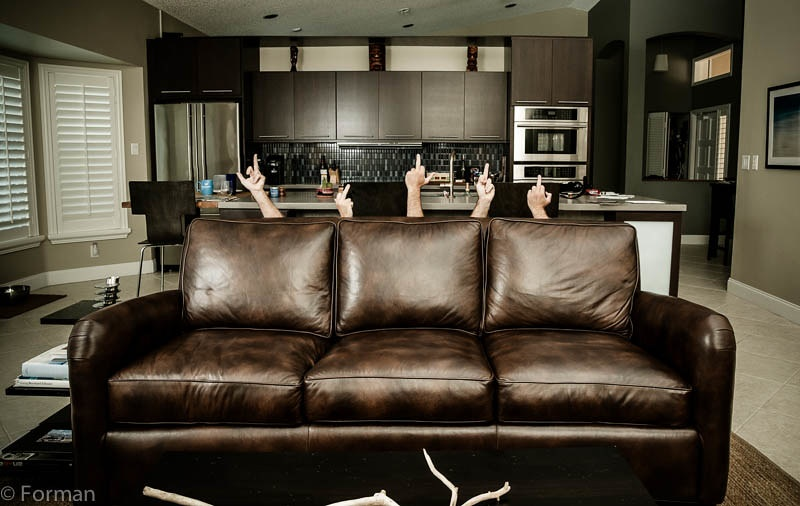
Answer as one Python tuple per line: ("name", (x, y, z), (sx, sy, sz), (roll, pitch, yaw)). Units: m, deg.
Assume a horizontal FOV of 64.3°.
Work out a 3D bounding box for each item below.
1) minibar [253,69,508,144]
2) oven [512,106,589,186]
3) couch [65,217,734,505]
("minibar", (-0.316, -1.930, 8.591), (3.599, 0.884, 0.569), (-6, 15, -21))
("oven", (1.894, -1.422, 8.523), (1.062, 1.075, 0.752), (-2, 8, -11))
("couch", (0.039, 0.615, 3.921), (3.715, 1.524, 0.942), (0, 12, 1))
